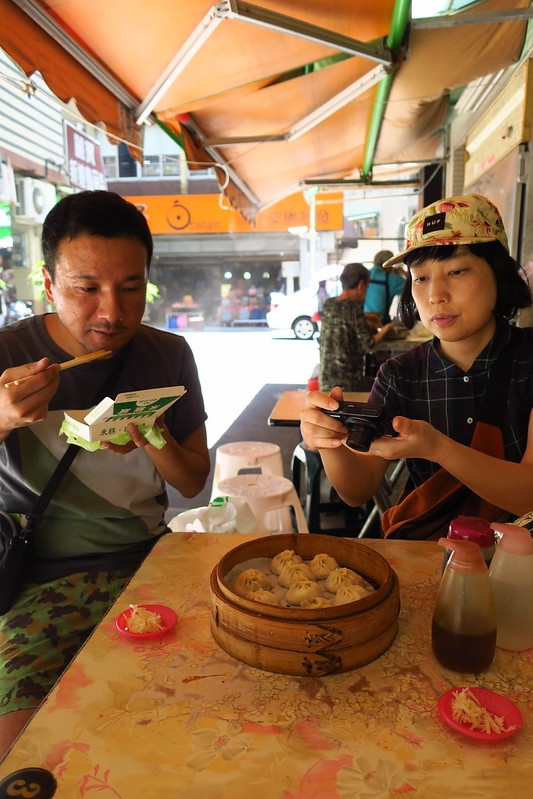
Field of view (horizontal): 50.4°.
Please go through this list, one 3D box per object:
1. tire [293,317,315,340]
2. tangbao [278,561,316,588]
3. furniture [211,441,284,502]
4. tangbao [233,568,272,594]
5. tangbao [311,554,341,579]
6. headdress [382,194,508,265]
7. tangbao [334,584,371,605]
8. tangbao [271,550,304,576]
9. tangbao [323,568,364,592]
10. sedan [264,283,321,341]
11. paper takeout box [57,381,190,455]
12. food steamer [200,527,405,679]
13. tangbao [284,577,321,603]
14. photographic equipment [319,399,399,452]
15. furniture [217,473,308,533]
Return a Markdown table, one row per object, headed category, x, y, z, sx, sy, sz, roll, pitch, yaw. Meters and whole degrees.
| category | x | y | z | sx | sy | sz | roll | pitch | yaw |
| --- | --- | --- | --- | --- | --- | --- | --- | --- | --- |
| tire | 1.030 | -2.015 | 15.707 | 0.531 | 0.453 | 0.154 | -3 | 19 | 0 |
| tangbao | 0.060 | 0.393 | 1.288 | 0.059 | 0.031 | 0.054 | -4 | 8 | 2 |
| furniture | -0.117 | 0.410 | 3.598 | 0.424 | 0.296 | 0.391 | -2 | 3 | -15 |
| tangbao | -0.026 | 0.394 | 1.254 | 0.054 | 0.021 | 0.051 | -5 | 5 | -16 |
| tangbao | 0.138 | 0.386 | 1.330 | 0.055 | 0.025 | 0.053 | 3 | 17 | 32 |
| headdress | 0.596 | -0.546 | 1.839 | 0.297 | 0.123 | 0.217 | -5 | 7 | -16 |
| tangbao | 0.181 | 0.393 | 1.187 | 0.062 | 0.028 | 0.060 | 4 | -8 | -43 |
| tangbao | 0.047 | 0.377 | 1.345 | 0.057 | 0.026 | 0.054 | -16 | 14 | -22 |
| tangbao | 0.166 | 0.392 | 1.255 | 0.054 | 0.021 | 0.050 | -4 | 8 | -27 |
| sedan | 0.755 | -2.268 | 15.278 | 1.706 | 0.729 | 0.902 | -4 | 27 | 9 |
| paper takeout box | -0.420 | 0.030 | 1.573 | 0.215 | 0.118 | 0.285 | -5 | 11 | -37 |
| food steamer | 0.057 | 0.403 | 1.132 | 0.269 | 0.080 | 0.257 | 0 | 8 | -1 |
| tangbao | 0.075 | 0.408 | 1.223 | 0.052 | 0.027 | 0.048 | -8 | 13 | -17 |
| photographic equipment | 0.224 | 0.057 | 1.386 | 0.136 | 0.061 | 0.181 | 15 | -10 | 11 |
| furniture | -0.056 | 0.527 | 2.980 | 0.385 | 0.324 | 0.382 | 1 | 10 | 38 |
